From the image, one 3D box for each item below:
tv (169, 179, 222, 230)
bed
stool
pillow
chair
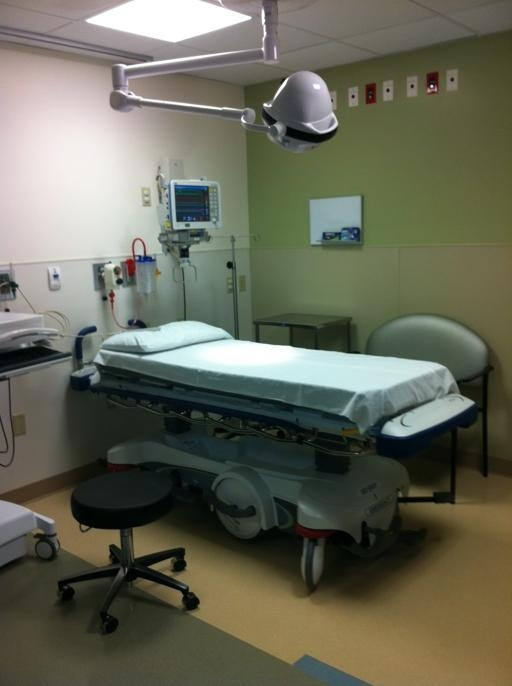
[{"bbox_3d":[-0.377,-0.849,3.388,0.063,0.293,0.412,7,16,38],"label":"tv"},{"bbox_3d":[-0.012,0.448,2.846,1.942,0.976,0.909,7,11,35],"label":"bed"},{"bbox_3d":[-0.466,0.737,2.179,0.495,0.477,0.554,10,15,38],"label":"stool"},{"bbox_3d":[-0.472,-0.039,3.120,0.275,0.083,0.498,13,15,40],"label":"pillow"},{"bbox_3d":[1.169,0.257,3.722,0.850,1.022,0.640,2,19,27],"label":"chair"}]
